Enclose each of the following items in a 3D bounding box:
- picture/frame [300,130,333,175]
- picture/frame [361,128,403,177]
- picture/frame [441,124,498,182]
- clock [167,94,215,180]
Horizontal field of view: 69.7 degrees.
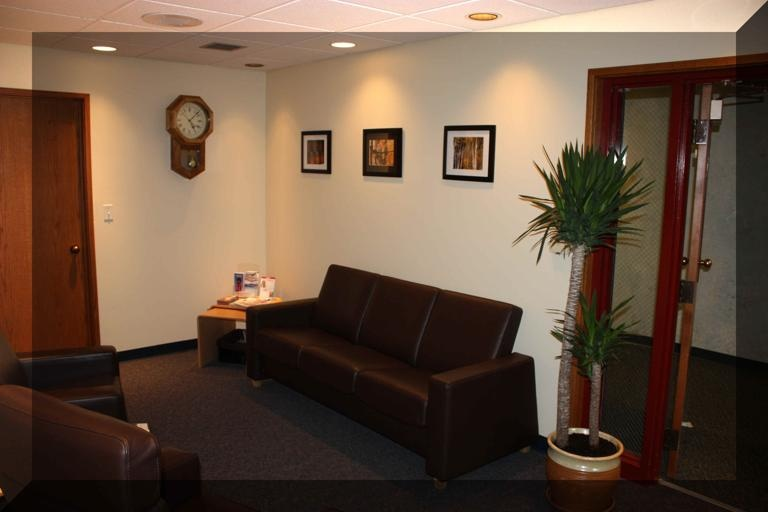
[{"bbox_3d":[-0.699,-1.110,5.885,0.452,0.459,0.033,14,16,42],"label":"picture/frame"},{"bbox_3d":[0.003,-0.991,5.253,0.466,0.467,0.036,9,12,43],"label":"picture/frame"},{"bbox_3d":[0.736,-0.871,4.658,0.485,0.480,0.036,7,9,39],"label":"picture/frame"},{"bbox_3d":[-2.070,-1.271,5.942,0.458,0.875,0.217,-2,11,-18],"label":"clock"}]
